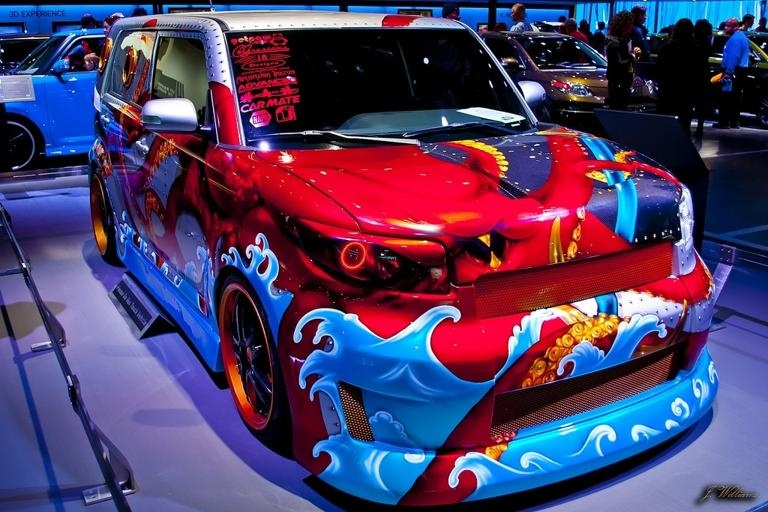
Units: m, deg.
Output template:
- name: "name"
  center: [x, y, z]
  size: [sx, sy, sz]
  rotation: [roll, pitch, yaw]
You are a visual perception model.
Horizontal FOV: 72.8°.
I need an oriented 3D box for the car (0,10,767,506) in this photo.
- name: "car"
  center: [-0.435, -0.544, 3.641]
  size: [2.432, 1.896, 4.230]
  rotation: [-9, 16, -31]
